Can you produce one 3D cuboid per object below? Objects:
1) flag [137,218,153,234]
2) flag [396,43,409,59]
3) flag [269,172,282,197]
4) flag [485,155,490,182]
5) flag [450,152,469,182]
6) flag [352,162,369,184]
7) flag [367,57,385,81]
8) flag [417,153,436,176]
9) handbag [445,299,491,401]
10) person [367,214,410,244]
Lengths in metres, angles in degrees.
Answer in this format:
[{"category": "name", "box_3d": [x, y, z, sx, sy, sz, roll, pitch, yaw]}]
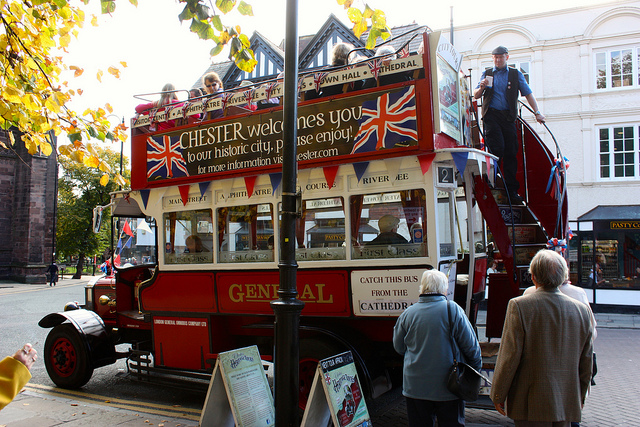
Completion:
[{"category": "flag", "box_3d": [-3.806, 0.294, 12.701, 0.316, 0.334, 0.212, 3, -19, -13]}, {"category": "flag", "box_3d": [1.384, -2.695, 9.727, 0.188, 0.304, 0.384, 0, 3, 7]}, {"category": "flag", "box_3d": [-0.799, -0.505, 10.297, 0.139, 0.413, 0.010, 10, 11, 22]}, {"category": "flag", "box_3d": [2.916, -0.814, 10.141, 0.066, 0.333, 0.190, 2, 4, 30]}, {"category": "flag", "box_3d": [2.298, -0.782, 9.667, 0.368, 0.618, 0.035, -11, 17, -4]}, {"category": "flag", "box_3d": [0.681, -0.681, 9.724, 0.322, 0.374, 0.008, 6, -1, 17]}, {"category": "flag", "box_3d": [0.933, -2.397, 9.746, 0.398, 0.397, 0.083, -2, 12, 32]}, {"category": "flag", "box_3d": [1.701, -0.791, 9.377, 0.328, 0.520, 0.132, 1, -4, 44]}, {"category": "handbag", "box_3d": [1.977, 1.893, 8.026, 0.486, 1.302, 0.338, 1, 4, 16]}, {"category": "person", "box_3d": [1.130, 0.325, 9.812, 0.444, 0.551, 0.960, 1, -4, -38]}]
